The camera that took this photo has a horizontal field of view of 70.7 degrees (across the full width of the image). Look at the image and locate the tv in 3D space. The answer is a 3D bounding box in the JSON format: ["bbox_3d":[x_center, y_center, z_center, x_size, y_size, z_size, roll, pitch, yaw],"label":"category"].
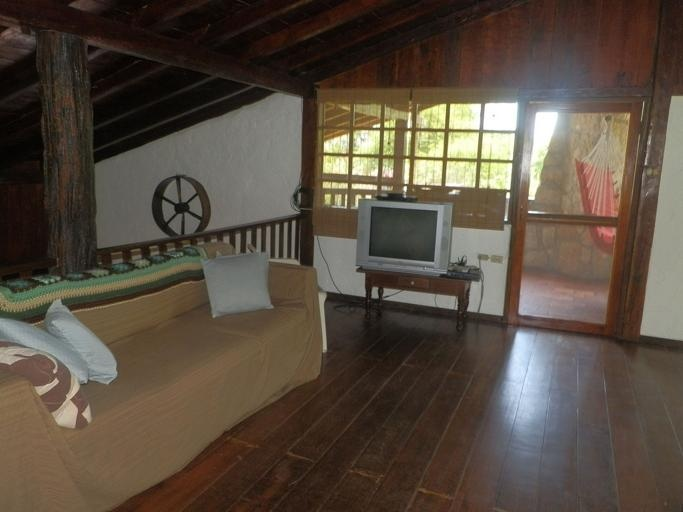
[{"bbox_3d":[0.685,-0.130,5.083,1.153,0.979,0.672,5,9,17],"label":"tv"}]
